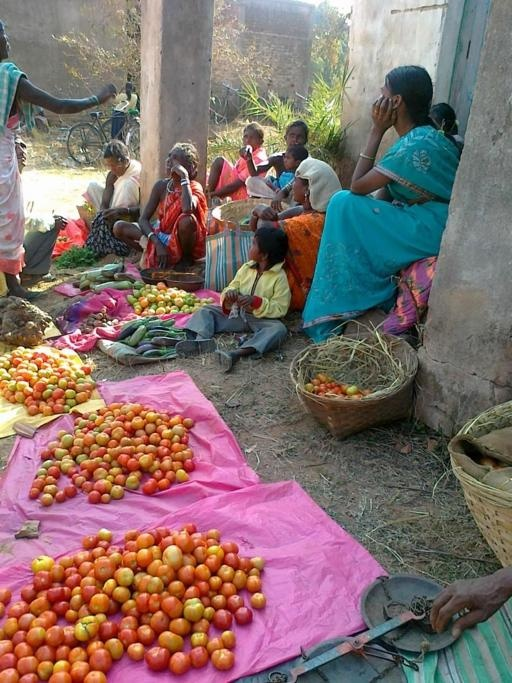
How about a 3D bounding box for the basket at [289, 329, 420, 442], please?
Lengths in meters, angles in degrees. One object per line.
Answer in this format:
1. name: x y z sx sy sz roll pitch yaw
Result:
1. basket: 0.580 0.217 3.194 0.919 0.552 0.800 4 19 15
